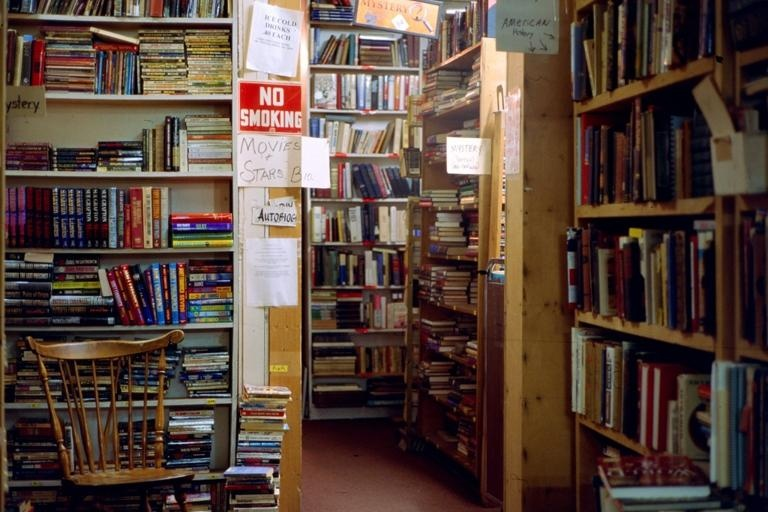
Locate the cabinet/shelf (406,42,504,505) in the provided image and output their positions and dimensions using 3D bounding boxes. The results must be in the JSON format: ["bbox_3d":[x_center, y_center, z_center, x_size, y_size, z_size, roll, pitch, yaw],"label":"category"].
[{"bbox_3d":[0.440,0.032,5.587,0.513,2.687,1.606,3,4,-4],"label":"cabinet/shelf"}]
